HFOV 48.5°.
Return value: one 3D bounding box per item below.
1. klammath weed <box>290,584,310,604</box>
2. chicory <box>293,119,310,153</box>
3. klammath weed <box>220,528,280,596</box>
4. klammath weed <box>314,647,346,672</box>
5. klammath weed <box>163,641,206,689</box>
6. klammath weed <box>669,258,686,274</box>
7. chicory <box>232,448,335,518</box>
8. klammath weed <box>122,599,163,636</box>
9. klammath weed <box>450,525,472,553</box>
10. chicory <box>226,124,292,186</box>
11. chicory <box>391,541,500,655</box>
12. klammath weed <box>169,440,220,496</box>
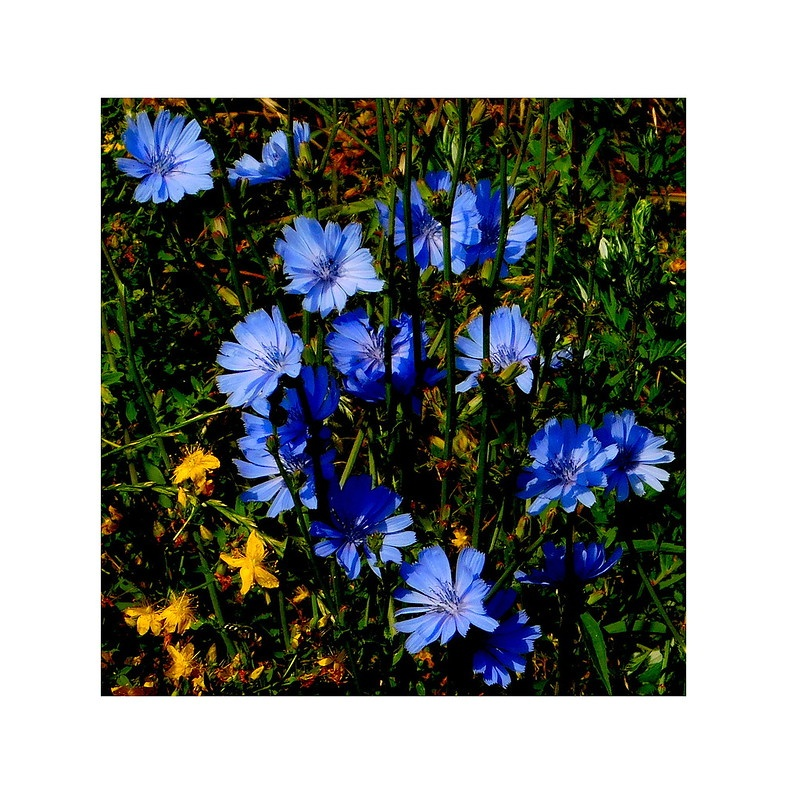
[{"bbox_3d":[-0.103,0.217,0.970,0.015,0.028,0.011,12,-17,42],"label":"klammath weed"},{"bbox_3d":[-0.100,-0.287,0.947,0.018,0.039,0.029,-1,1,-3],"label":"chicory"},{"bbox_3d":[-0.160,0.180,0.971,0.064,0.075,0.017,0,2,16],"label":"klammath weed"},{"bbox_3d":[-0.067,0.289,0.970,0.024,0.021,0.006,-7,5,1],"label":"klammath weed"},{"bbox_3d":[-0.237,0.298,0.984,0.033,0.051,0.022,-4,2,-6],"label":"klammath weed"},{"bbox_3d":[0.319,-0.153,0.984,0.017,0.016,0.004,-1,2,-7],"label":"klammath weed"},{"bbox_3d":[-0.123,0.083,0.920,0.065,0.098,0.075,-4,11,-28],"label":"chicory"},{"bbox_3d":[-0.282,0.246,0.982,0.043,0.035,0.008,-1,2,15],"label":"klammath weed"},{"bbox_3d":[0.073,0.151,0.951,0.019,0.026,0.006,10,-12,6],"label":"klammath weed"},{"bbox_3d":[-0.145,-0.259,0.945,0.046,0.080,0.044,0,16,6],"label":"chicory"},{"bbox_3d":[0.051,0.206,0.901,0.099,0.104,0.074,-1,1,-1],"label":"chicory"},{"bbox_3d":[-0.219,0.076,0.967,0.041,0.056,0.018,-4,-7,8],"label":"klammath weed"}]
